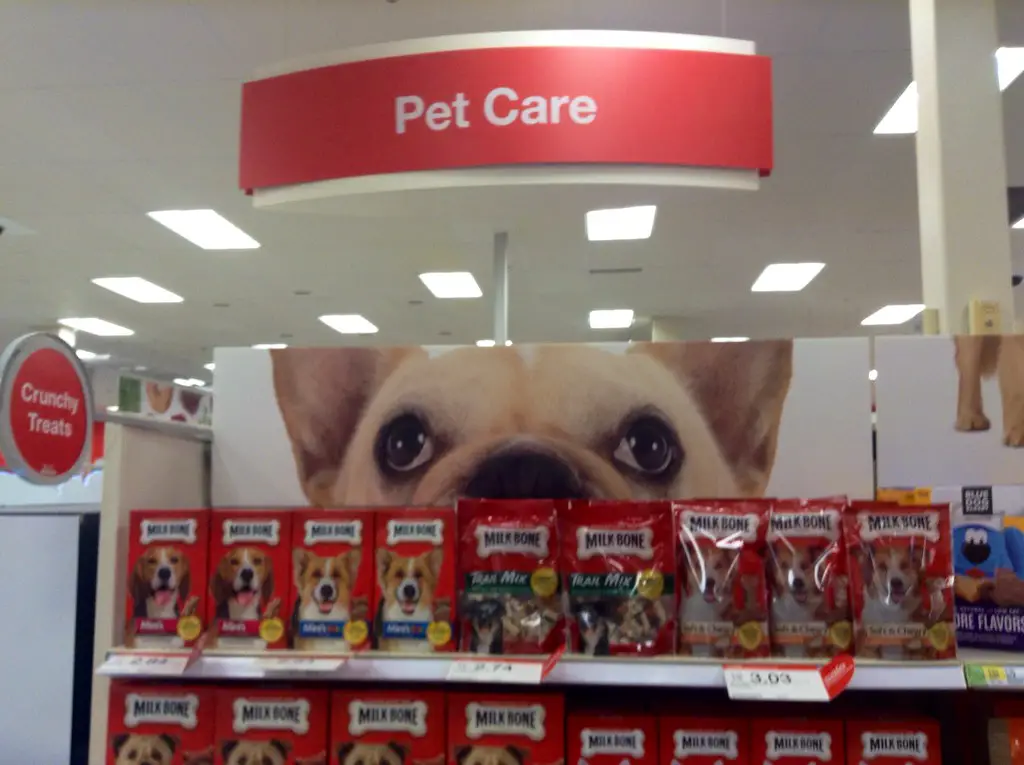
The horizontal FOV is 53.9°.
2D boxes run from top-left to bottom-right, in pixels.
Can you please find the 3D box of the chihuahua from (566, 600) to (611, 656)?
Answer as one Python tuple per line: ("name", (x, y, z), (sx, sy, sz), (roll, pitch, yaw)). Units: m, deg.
("chihuahua", (0.203, 0.660, 2.687), (0.103, 0.138, 0.040), (-2, -15, 7))
